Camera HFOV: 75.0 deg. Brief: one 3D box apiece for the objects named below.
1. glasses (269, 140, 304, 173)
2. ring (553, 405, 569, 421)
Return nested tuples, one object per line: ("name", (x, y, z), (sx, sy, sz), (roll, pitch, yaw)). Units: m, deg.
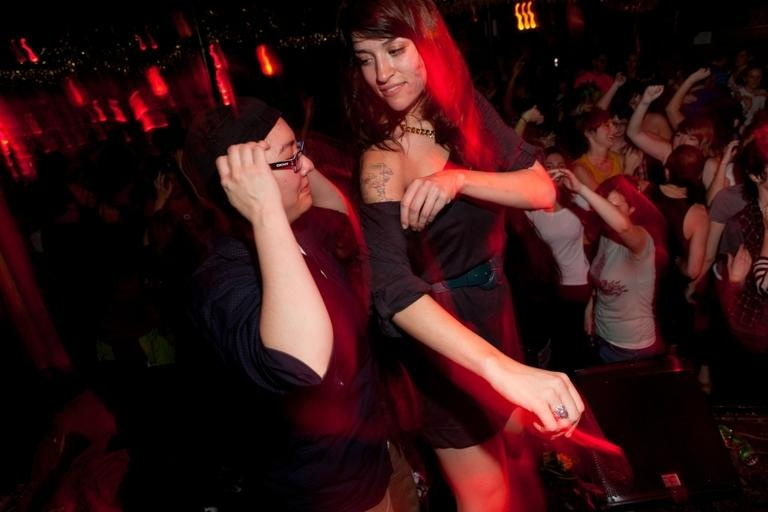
("glasses", (-0.545, -0.546, 2.873), (0.187, 0.057, 0.182), (-12, 30, -1))
("ring", (0.870, 0.774, 2.465), (0.063, 0.061, 0.015), (7, -9, -2))
